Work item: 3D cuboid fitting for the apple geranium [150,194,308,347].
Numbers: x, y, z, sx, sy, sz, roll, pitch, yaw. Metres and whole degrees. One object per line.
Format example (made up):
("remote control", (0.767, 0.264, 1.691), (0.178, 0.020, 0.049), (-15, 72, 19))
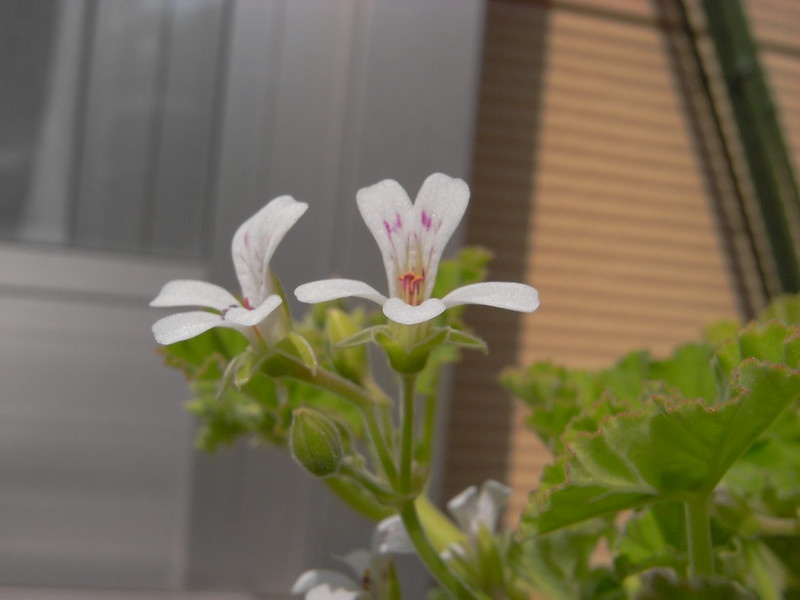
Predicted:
("apple geranium", (-0.202, -0.031, 1.081), (0.142, 0.133, 0.236), (3, -2, -26))

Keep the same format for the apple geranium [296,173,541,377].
("apple geranium", (0.020, -0.043, 0.965), (0.197, 0.222, 0.138), (4, -40, 5))
